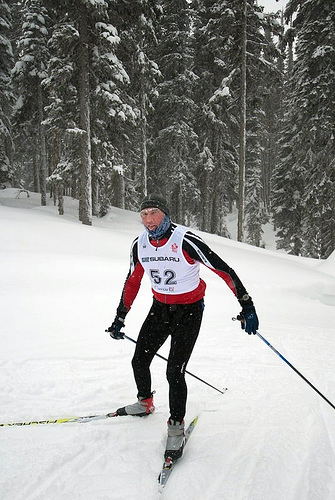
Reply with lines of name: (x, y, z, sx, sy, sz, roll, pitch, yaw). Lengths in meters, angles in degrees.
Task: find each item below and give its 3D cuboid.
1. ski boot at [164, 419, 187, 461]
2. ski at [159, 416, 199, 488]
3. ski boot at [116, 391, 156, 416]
ski boot: (0.063, 1.831, 4.761, 0.158, 0.346, 0.483, -2, 6, 17)
ski: (0.154, 1.948, 4.949, 0.122, 0.067, 1.201, 17, 22, 14)
ski boot: (-0.325, 1.677, 5.319, 0.531, 0.334, 0.181, 2, -11, 3)
